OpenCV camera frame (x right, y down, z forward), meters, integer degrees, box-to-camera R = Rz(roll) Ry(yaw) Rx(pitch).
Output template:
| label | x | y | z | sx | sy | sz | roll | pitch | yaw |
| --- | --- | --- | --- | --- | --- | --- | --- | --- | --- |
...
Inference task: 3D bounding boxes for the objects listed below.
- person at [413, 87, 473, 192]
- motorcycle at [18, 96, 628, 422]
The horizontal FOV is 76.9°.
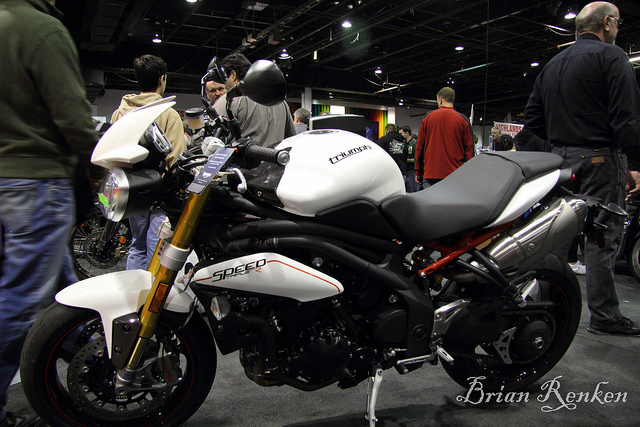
| label | x | y | z | sx | sy | sz | roll | pitch | yaw |
| --- | --- | --- | --- | --- | --- | --- | --- | --- | --- |
| person | 1.676 | -0.750 | 5.572 | 0.723 | 1.839 | 0.462 | 4 | 24 | 15 |
| motorcycle | 0.029 | 0.300 | 2.136 | 2.937 | 1.760 | 0.508 | -4 | 12 | -18 |
